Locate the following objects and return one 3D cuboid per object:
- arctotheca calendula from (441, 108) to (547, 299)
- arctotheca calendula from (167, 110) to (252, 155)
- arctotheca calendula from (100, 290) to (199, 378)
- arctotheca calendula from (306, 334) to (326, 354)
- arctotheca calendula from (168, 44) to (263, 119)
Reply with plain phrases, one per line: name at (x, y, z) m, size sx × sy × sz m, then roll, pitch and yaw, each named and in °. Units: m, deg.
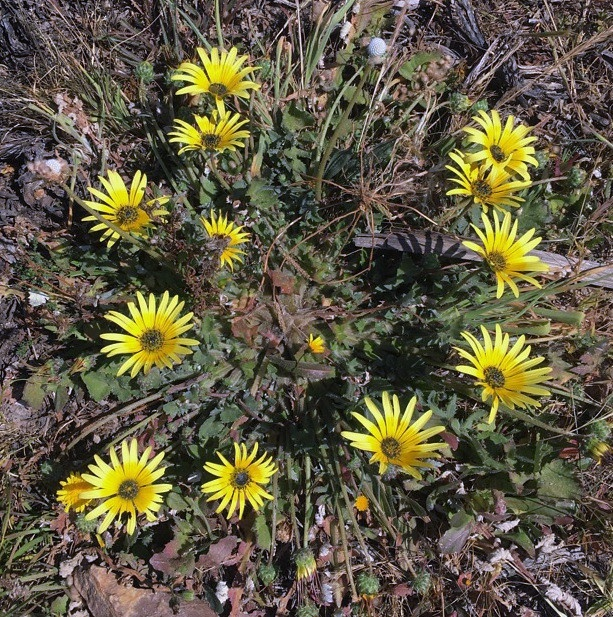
arctotheca calendula at (0.729, -0.454, 2.266) m, size 0.522 × 0.198 × 0.836 m, roll 3°, pitch 80°, yaw -10°
arctotheca calendula at (-0.371, -0.707, 2.206) m, size 0.273 × 0.305 × 0.078 m, roll -11°, pitch 94°, yaw 32°
arctotheca calendula at (-0.571, 0.087, 2.044) m, size 0.359 × 0.084 × 0.314 m, roll 14°, pitch 40°, yaw -12°
arctotheca calendula at (0.049, 0.151, 2.451) m, size 0.049 × 0.091 × 0.085 m, roll -17°, pitch 45°, yaw 27°
arctotheca calendula at (-0.348, -0.931, 2.225) m, size 0.326 × 0.282 × 0.100 m, roll 5°, pitch 75°, yaw -8°
